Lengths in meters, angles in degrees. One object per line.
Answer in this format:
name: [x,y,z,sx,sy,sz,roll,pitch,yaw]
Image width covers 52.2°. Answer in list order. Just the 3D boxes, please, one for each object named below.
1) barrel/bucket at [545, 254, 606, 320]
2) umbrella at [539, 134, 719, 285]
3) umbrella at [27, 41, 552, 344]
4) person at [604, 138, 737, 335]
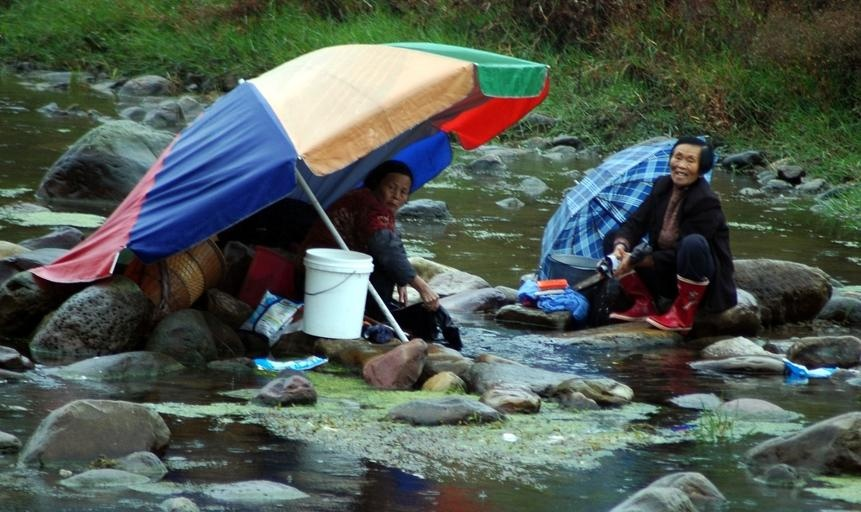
barrel/bucket: [1.517,0.321,9.024,0.813,0.431,0.652,7,-8,-1]
umbrella: [2.253,-0.949,9.698,1.736,0.548,1.669,-28,8,33]
umbrella: [-1.615,-0.844,8.727,4.907,1.314,4.272,-23,-2,32]
person: [2.414,-0.205,8.422,1.273,1.806,0.835,13,26,23]
